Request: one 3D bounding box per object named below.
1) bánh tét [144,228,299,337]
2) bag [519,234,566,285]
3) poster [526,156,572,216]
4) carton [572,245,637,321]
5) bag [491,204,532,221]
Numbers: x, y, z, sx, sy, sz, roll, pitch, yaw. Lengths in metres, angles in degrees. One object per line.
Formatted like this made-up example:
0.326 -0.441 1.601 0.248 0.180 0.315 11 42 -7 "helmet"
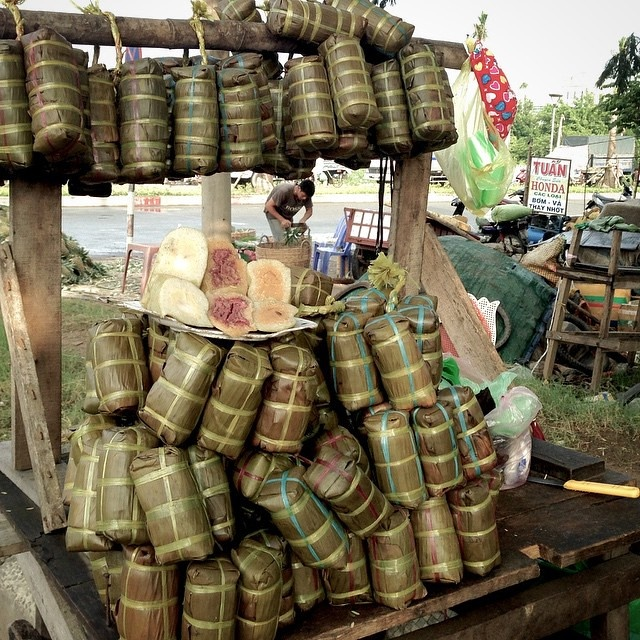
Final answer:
-0.358 -0.116 1.951 0.490 0.183 0.443 35 40 6 "bánh tét"
3.163 -0.848 7.667 0.568 0.680 0.320 2 5 31 "bag"
4.094 -2.406 9.700 0.694 1.133 0.814 1 5 20 "poster"
3.450 -0.455 6.594 0.748 0.728 1.417 6 5 13 "carton"
2.976 -1.684 8.380 0.597 0.215 0.294 -3 2 -32 "bag"
